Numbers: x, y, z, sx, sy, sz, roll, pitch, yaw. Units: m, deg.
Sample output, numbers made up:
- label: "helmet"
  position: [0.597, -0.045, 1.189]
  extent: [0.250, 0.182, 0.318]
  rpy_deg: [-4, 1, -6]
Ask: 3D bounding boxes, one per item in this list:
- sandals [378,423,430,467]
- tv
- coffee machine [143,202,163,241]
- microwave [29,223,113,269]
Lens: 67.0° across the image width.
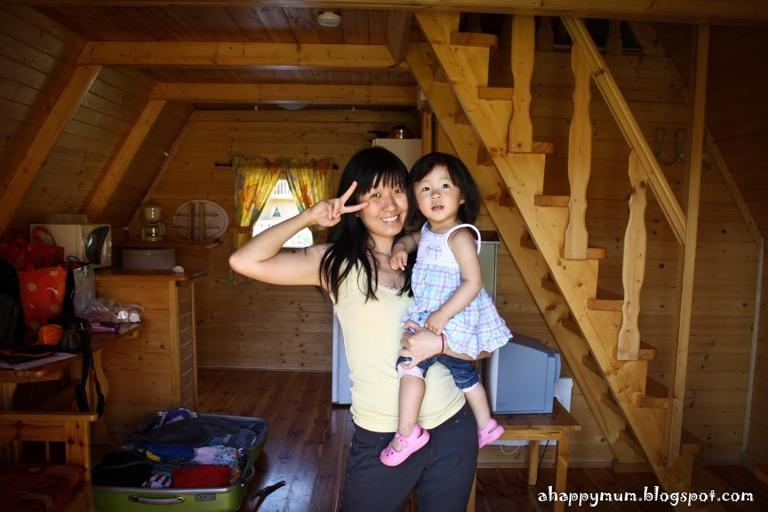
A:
- label: "sandals"
  position: [0.102, 0.933, 2.888]
  extent: [0.110, 0.284, 0.130]
  rpy_deg: [58, 1, -28]
- label: "tv"
  position: [0.963, 0.838, 4.136]
  extent: [0.578, 0.484, 0.386]
  rpy_deg: [0, 18, -3]
- label: "coffee machine"
  position: [-2.625, -0.384, 6.607]
  extent: [0.226, 0.405, 0.381]
  rpy_deg: [1, 9, -22]
- label: "microwave"
  position: [-2.693, -0.128, 5.050]
  extent: [0.442, 0.345, 0.565]
  rpy_deg: [-1, 4, -7]
